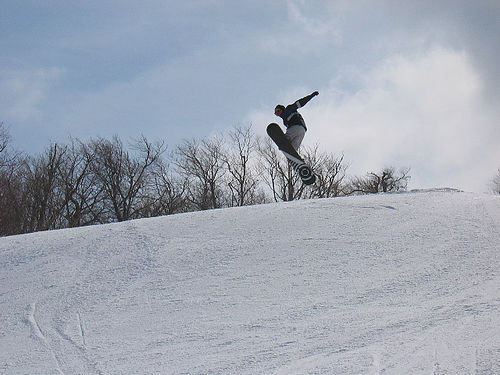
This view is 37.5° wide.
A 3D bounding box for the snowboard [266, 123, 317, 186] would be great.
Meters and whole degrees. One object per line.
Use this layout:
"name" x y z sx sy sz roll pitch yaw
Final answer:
"snowboard" 0.829 -0.638 15.013 0.367 1.570 0.230 -35 -1 7
